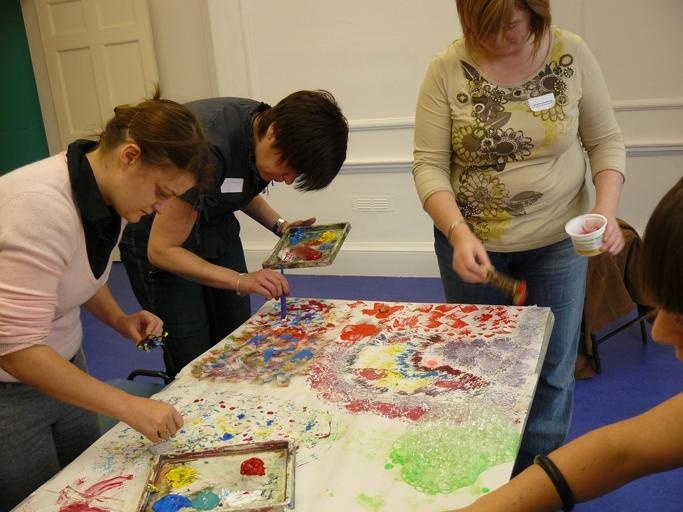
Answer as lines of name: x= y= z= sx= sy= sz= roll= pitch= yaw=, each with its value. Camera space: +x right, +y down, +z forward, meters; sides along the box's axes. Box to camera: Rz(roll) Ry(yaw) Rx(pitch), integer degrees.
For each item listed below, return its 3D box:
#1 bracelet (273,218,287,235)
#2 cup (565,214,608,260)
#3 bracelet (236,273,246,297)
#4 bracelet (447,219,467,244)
bracelet: x=-0.308 y=-0.147 z=2.495 sx=0.049 sy=0.068 sz=0.075 roll=21 pitch=-1 yaw=15
cup: x=0.868 y=-0.052 z=1.782 sx=0.116 sy=0.085 sz=0.117 roll=-13 pitch=13 yaw=3
bracelet: x=-0.408 y=0.115 z=2.030 sx=0.032 sy=0.088 sz=0.074 roll=3 pitch=-12 yaw=-2
bracelet: x=0.430 y=-0.091 z=1.900 sx=0.018 sy=0.072 sz=0.077 roll=30 pitch=37 yaw=17
